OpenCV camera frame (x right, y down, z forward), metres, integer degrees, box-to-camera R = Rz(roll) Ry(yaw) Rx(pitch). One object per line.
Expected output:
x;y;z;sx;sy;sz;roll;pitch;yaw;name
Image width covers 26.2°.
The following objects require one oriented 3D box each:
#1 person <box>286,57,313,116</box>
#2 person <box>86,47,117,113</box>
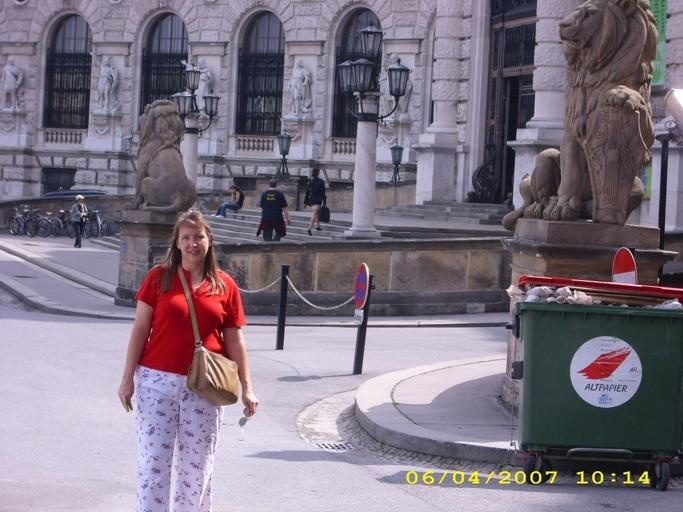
-1.408;-5.751;50.198;0.739;1.938;0.395;0;2;4;person
-8.705;-6.370;54.290;0.968;2.204;0.682;0;2;30;person
